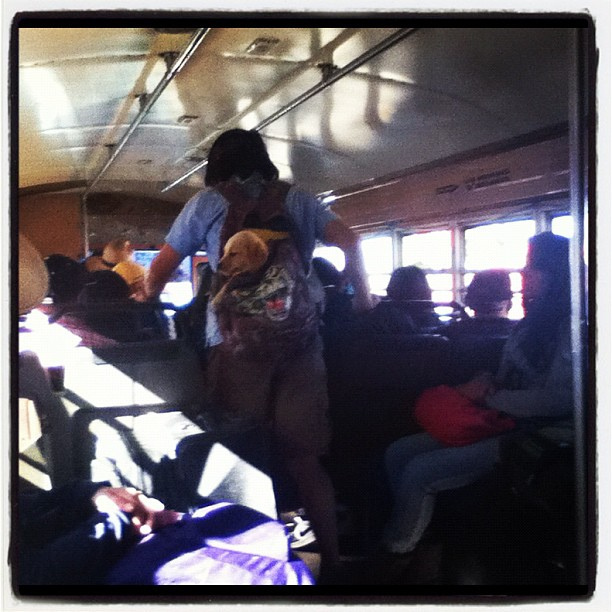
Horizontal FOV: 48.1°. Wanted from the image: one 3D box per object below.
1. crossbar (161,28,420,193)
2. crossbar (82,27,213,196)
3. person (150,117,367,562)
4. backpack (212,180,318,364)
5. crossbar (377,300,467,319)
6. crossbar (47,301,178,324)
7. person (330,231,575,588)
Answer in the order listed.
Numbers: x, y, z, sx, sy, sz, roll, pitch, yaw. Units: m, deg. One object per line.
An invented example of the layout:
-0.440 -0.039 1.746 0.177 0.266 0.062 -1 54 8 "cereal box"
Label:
-0.027 -0.627 2.110 1.022 0.043 0.033 -28 36 -1 "crossbar"
-0.497 -0.621 2.104 0.027 0.628 0.028 32 8 -42 "crossbar"
-0.160 0.153 2.273 0.856 1.457 0.471 6 11 25 "person"
-0.172 -0.041 2.458 0.402 0.253 0.727 -12 13 -2 "backpack"
0.364 0.011 2.127 0.274 0.058 0.018 0 3 -4 "crossbar"
-0.590 0.019 2.114 0.392 0.066 0.009 0 3 -1 "crossbar"
0.610 0.349 2.362 0.858 1.228 0.482 3 20 22 "person"
